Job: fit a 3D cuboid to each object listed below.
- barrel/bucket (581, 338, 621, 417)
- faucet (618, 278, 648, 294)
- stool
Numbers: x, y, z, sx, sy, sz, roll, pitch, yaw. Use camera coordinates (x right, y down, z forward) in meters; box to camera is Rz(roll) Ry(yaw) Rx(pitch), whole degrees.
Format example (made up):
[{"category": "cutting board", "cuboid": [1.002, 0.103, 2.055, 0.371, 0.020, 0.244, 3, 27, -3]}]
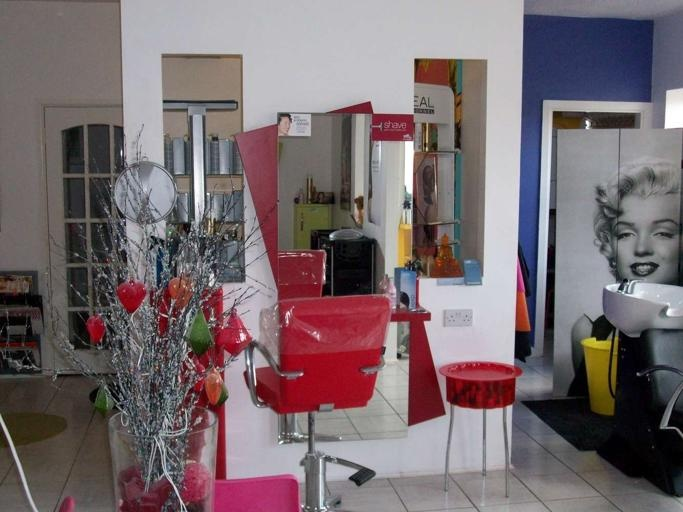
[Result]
[{"category": "barrel/bucket", "cuboid": [2.025, 0.930, 5.088, 0.258, 0.639, 0.607, 4, 10, 21]}, {"category": "faucet", "cuboid": [1.982, 0.224, 4.414, 0.106, 0.126, 0.320, -4, -13, 45]}, {"category": "stool", "cuboid": [0.862, 1.062, 4.048, 0.495, 0.770, 0.445, 1, 9, 2]}]
